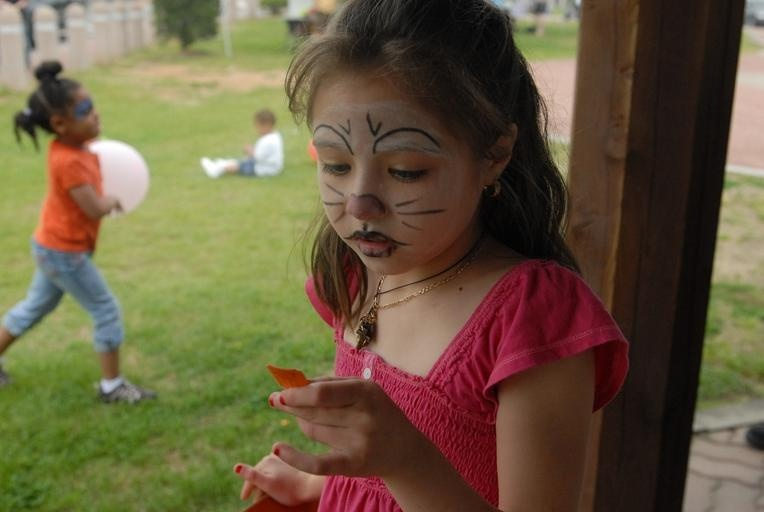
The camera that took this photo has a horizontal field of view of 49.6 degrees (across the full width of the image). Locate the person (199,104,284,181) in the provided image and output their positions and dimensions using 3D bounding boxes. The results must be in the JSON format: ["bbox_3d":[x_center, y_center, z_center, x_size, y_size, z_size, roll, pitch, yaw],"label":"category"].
[{"bbox_3d":[-1.324,-1.018,7.603,0.780,0.721,0.442,-6,33,-14],"label":"person"}]

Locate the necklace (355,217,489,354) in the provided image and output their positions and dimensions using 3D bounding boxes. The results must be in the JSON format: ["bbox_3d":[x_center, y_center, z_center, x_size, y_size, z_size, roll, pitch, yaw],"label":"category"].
[{"bbox_3d":[0.136,0.159,2.765,0.480,0.041,0.273,-50,29,-15],"label":"necklace"}]
